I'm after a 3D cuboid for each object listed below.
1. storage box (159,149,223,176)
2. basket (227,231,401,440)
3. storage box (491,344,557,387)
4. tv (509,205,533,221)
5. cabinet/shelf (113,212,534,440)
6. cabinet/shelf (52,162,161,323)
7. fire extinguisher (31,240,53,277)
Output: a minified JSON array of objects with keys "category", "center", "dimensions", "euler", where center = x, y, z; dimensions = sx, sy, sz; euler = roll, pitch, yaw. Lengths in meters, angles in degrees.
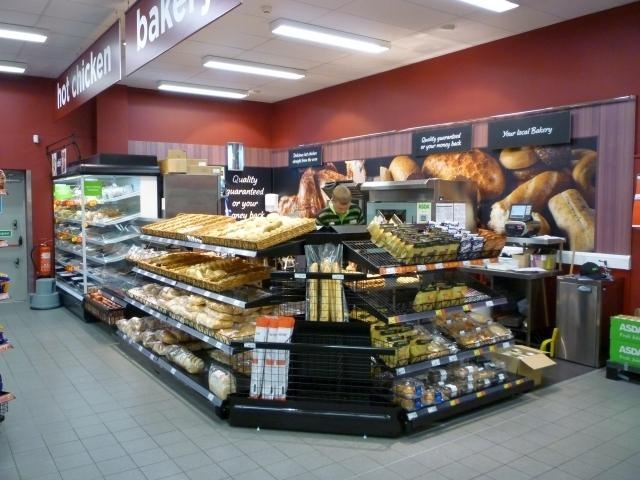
[{"category":"storage box","center":[-2.496,-1.334,8.205],"dimensions":[0.884,0.339,0.613],"euler":[-2,2,-36]},{"category":"basket","center":[0.039,0.816,4.025],"dimensions":[1.460,1.703,0.439],"euler":[1,6,8]},{"category":"storage box","center":[2.197,1.340,4.972],"dimensions":[0.625,0.215,0.528],"euler":[0,8,-5]},{"category":"tv","center":[2.827,-0.372,6.411],"dimensions":[0.277,0.260,0.324],"euler":[5,-4,-38]},{"category":"cabinet/shelf","center":[-0.460,0.747,4.765],"dimensions":[3.189,1.027,2.455],"euler":[4,4,42]},{"category":"cabinet/shelf","center":[-3.759,-0.048,8.206],"dimensions":[1.347,2.674,3.520],"euler":[-4,8,-41]},{"category":"fire extinguisher","center":[-5.474,0.394,8.930],"dimensions":[0.362,0.741,0.506],"euler":[-3,7,-30]}]
